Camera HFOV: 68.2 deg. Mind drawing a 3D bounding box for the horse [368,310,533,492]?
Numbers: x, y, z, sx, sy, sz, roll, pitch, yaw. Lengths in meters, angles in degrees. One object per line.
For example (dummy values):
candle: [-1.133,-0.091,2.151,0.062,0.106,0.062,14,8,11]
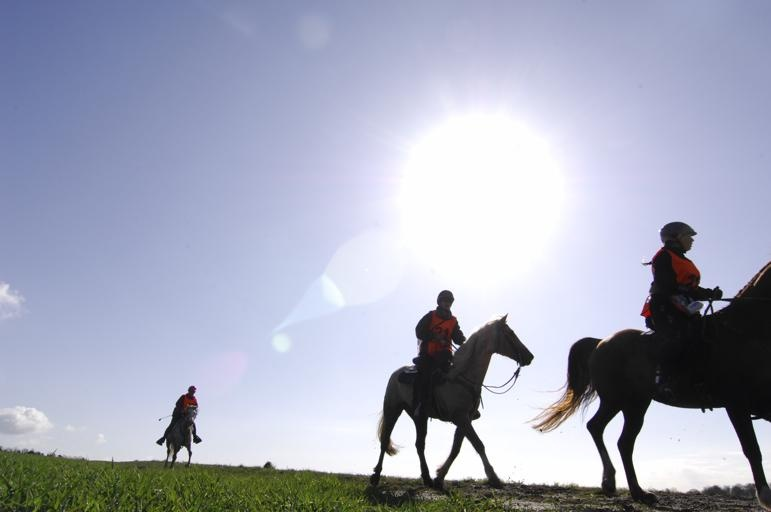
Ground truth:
horse: [1.527,3.969,14.738,4.862,4.623,1.243,-9,-14,41]
